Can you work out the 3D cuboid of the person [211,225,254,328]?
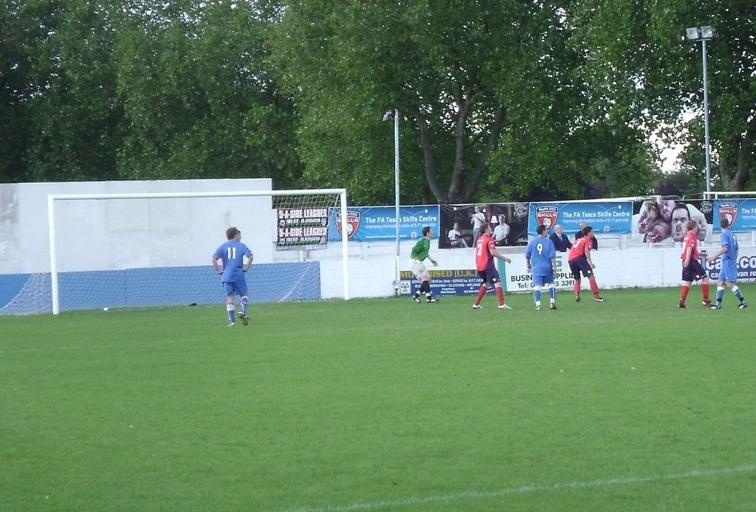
[{"bbox_3d":[-5.238,0.661,44.807,1.475,3.540,1.123,0,5,-2],"label":"person"}]

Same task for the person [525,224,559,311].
[{"bbox_3d":[6.087,0.340,47.324,1.196,3.090,1.302,0,0,25],"label":"person"}]
